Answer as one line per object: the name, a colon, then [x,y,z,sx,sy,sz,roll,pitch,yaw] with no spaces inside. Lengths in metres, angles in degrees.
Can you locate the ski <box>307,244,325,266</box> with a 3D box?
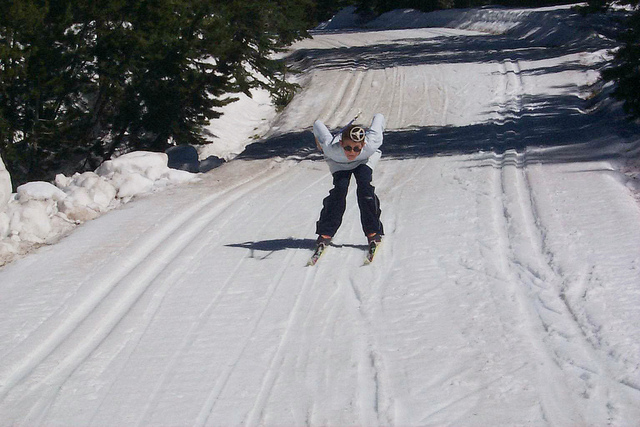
ski: [-0.055,0.614,8.912,0.123,0.104,0.390,31,36,-4]

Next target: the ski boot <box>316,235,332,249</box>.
ski boot: [0.059,0.411,9.074,0.133,0.110,0.230,6,58,-6]

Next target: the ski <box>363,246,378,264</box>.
ski: [0.723,0.613,8.803,0.110,0.297,0.135,22,-10,30]
